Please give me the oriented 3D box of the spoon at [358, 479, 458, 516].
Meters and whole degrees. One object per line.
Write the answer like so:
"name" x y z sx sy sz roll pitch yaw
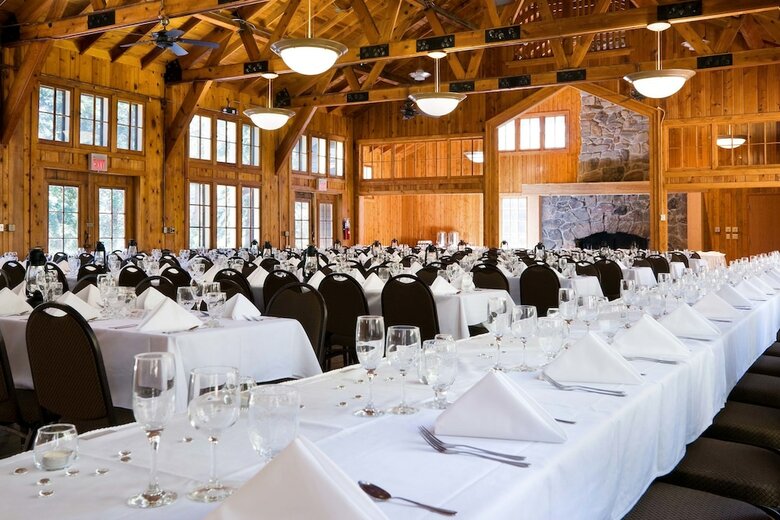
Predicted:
"spoon" 0.050 0.656 1.699 0.263 0.040 0.054 8 4 23

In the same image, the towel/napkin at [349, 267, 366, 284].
"towel/napkin" -0.341 0.174 6.527 0.181 0.062 0.136 37 29 29

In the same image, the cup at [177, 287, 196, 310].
"cup" -1.304 0.252 4.052 0.128 0.159 0.135 0 -1 0

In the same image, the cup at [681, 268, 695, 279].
"cup" 2.395 0.113 4.995 0.081 0.086 0.085 1 0 0

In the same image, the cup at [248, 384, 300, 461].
"cup" -0.336 0.469 1.825 0.170 0.216 0.178 3 2 0

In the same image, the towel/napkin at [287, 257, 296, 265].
"towel/napkin" -1.295 0.021 8.209 0.106 0.108 0.105 4 -3 -36

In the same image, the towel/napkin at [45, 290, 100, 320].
"towel/napkin" -2.024 0.290 4.010 0.268 0.129 0.279 12 11 25

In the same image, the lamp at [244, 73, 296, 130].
"lamp" -1.759 -2.318 9.085 0.733 0.830 0.742 2 23 -3

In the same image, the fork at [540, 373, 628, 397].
"fork" 0.771 0.492 2.425 0.297 0.059 0.043 0 29 24

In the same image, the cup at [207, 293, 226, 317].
"cup" -1.057 0.277 3.816 0.125 0.154 0.132 1 -3 0

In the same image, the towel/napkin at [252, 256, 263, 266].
"towel/napkin" -1.823 0.020 8.502 0.126 0.154 0.171 -2 -11 3

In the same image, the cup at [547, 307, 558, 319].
"cup" 0.704 0.230 2.671 0.043 0.040 0.044 2 0 0

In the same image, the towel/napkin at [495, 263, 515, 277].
"towel/napkin" 1.430 0.137 7.690 0.187 0.048 0.181 7 17 -22

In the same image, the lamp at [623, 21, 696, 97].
"lamp" 3.341 -2.502 7.750 0.737 0.834 0.769 -3 9 7

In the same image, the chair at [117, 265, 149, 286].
"chair" -2.537 0.163 6.106 0.153 0.230 0.220 1 -13 -19

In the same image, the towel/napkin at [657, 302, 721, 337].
"towel/napkin" 1.565 0.311 3.236 0.162 0.084 0.221 -1 -1 -24

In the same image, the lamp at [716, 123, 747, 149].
"lamp" 7.905 -2.764 14.388 0.610 0.409 0.637 -1 2 26

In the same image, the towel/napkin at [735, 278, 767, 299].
"towel/napkin" 2.689 0.234 4.634 0.171 0.062 0.173 24 21 38

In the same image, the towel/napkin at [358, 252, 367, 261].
"towel/napkin" -0.487 -0.058 10.208 0.142 0.202 0.156 0 -5 17

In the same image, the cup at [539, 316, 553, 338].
"cup" 0.641 0.279 2.566 0.062 0.111 0.069 -1 1 0

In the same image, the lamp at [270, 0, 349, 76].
"lamp" -0.906 -2.360 6.881 0.781 0.668 0.522 -4 1 -13

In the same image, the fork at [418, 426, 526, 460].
"fork" 0.270 0.584 1.963 0.281 0.051 0.039 7 10 18

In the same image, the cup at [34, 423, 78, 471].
"cup" -1.017 0.569 1.889 0.120 0.154 0.097 -3 1 38

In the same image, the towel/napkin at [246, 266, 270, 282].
"towel/napkin" -1.447 0.186 6.803 0.217 0.110 0.243 1 1 6

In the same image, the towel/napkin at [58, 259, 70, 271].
"towel/napkin" -4.639 0.078 8.805 0.153 0.113 0.160 2 7 -2

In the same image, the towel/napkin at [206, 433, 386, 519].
"towel/napkin" -0.238 0.571 1.598 0.443 0.193 0.185 -4 0 -4

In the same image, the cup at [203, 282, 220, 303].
"cup" -1.088 0.200 3.817 0.092 0.095 0.130 1 -3 -2

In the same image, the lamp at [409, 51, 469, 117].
"lamp" 0.657 -2.544 9.018 0.809 0.927 0.814 5 23 19

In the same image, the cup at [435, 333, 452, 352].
"cup" 0.188 0.293 2.191 0.051 0.052 0.052 1 -2 0

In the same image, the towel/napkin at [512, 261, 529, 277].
"towel/napkin" 1.547 0.106 7.489 0.150 0.068 0.178 1 31 27
